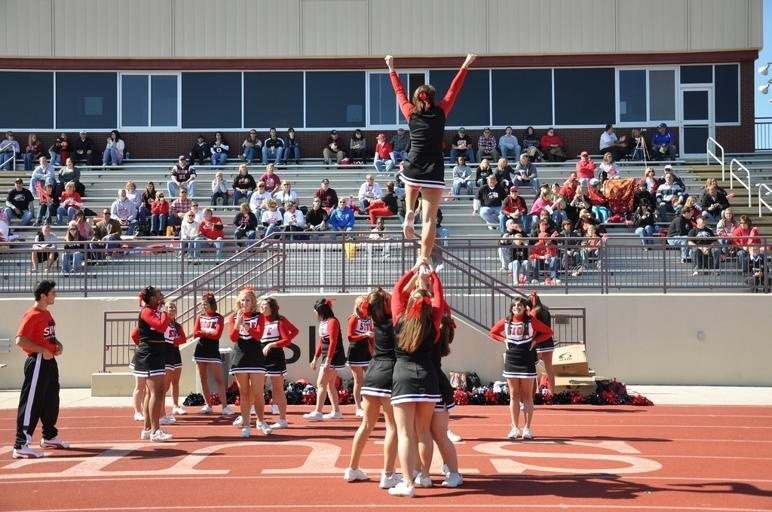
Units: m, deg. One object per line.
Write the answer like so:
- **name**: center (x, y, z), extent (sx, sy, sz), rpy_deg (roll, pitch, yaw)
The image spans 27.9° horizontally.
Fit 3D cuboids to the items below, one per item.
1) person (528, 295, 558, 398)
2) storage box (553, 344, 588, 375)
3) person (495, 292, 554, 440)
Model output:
- **person**: center (4.605, 2.738, 45.331), extent (0.815, 3.120, 0.728), rpy_deg (-1, -5, -3)
- **storage box**: center (5.647, 3.305, 47.536), extent (1.197, 0.845, 1.000), rpy_deg (2, -26, 9)
- **person**: center (3.772, 3.335, 43.594), extent (1.426, 4.069, 0.740), rpy_deg (0, 2, 6)
